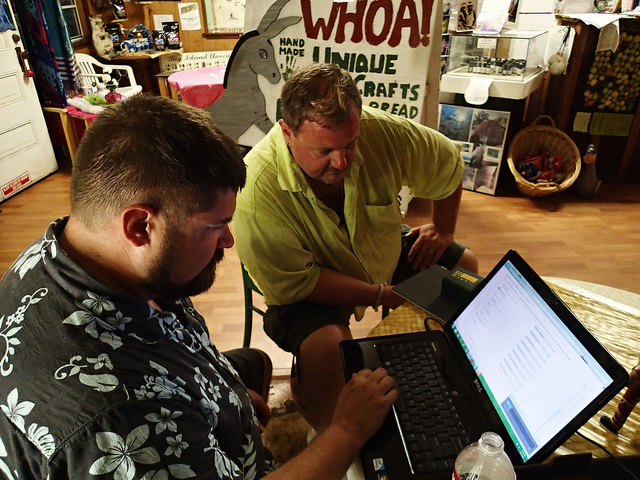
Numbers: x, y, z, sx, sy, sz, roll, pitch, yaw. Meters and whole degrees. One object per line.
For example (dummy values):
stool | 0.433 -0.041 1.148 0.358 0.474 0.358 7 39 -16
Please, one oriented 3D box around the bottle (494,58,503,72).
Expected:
bottle | 1.488 -1.480 3.671 0.063 0.103 0.062 -6 47 6

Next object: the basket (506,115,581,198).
basket | 1.926 -0.768 4.154 0.824 0.591 0.760 -4 2 -29

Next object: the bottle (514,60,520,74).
bottle | 1.597 -1.427 3.614 0.055 0.091 0.055 1 35 -1

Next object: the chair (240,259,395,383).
chair | -0.011 0.317 1.790 0.304 0.592 0.351 -28 40 -30
